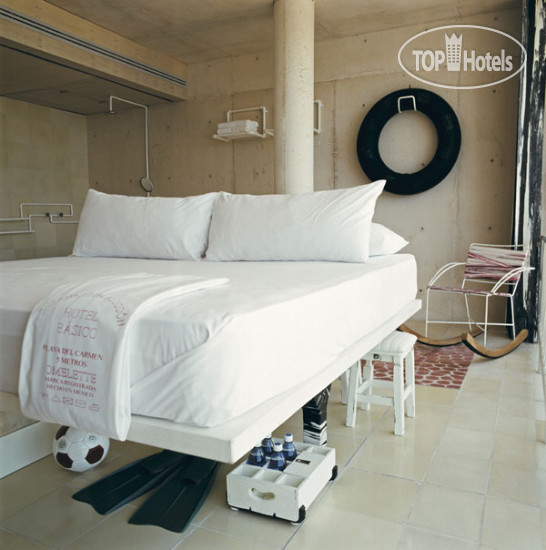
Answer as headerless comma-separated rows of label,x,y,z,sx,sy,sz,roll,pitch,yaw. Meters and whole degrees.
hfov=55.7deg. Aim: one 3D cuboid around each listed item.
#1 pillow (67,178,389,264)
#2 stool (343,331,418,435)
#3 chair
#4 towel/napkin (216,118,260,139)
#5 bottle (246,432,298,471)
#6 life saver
pillow,-0.300,-0.321,3.064,1.837,0.459,0.310,3,8,22
stool,0.529,0.517,2.652,0.316,0.547,0.397,2,4,28
chair,1.676,0.108,4.415,0.622,1.061,0.976,3,5,34
towel/napkin,-0.341,-1.516,5.418,0.443,0.153,0.296,4,8,25
bottle,-0.001,0.617,1.931,0.119,0.140,0.125,-2,-3,41
life saver,1.240,-1.235,4.791,0.940,0.936,0.114,4,8,29
